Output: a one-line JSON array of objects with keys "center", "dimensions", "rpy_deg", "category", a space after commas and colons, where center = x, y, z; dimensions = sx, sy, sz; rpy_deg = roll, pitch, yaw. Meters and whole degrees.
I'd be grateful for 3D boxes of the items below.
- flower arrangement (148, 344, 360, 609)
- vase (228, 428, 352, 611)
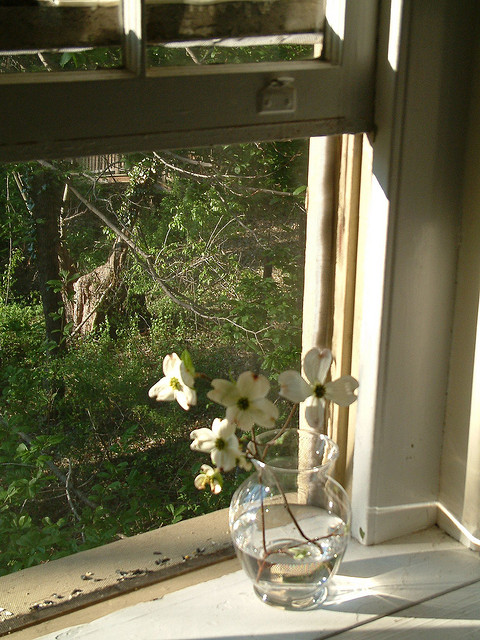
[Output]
[{"center": [0.038, 0.212, 0.832], "dimensions": [0.187, 0.301, 0.266], "rpy_deg": [-2, -9, -45], "category": "flower arrangement"}, {"center": [0.066, 0.257, 0.844], "dimensions": [0.182, 0.194, 0.174], "rpy_deg": [2, 15, 17], "category": "vase"}]
